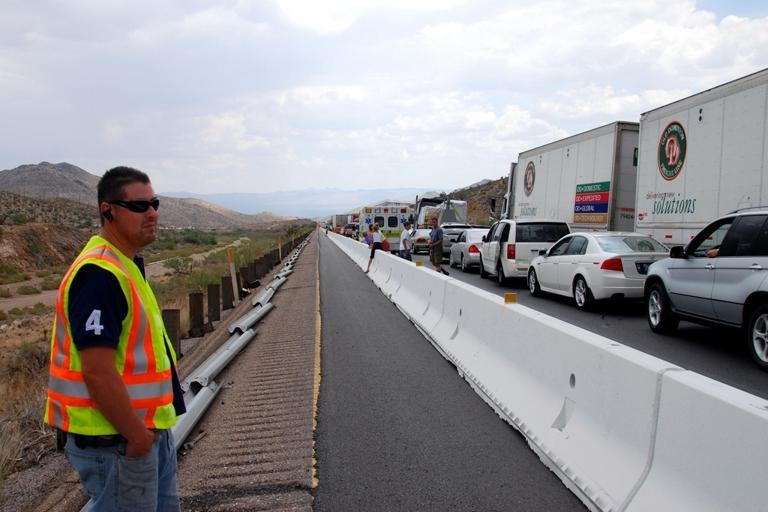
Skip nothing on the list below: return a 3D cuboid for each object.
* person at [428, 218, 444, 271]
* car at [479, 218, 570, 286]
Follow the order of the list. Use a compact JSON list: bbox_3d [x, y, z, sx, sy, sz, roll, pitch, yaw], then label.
[{"bbox_3d":[1.866,-0.391,16.430,0.368,1.827,1.321,-1,6,4],"label":"person"},{"bbox_3d":[4.580,-0.403,16.268,1.503,1.237,2.941,-1,6,-6],"label":"car"}]
